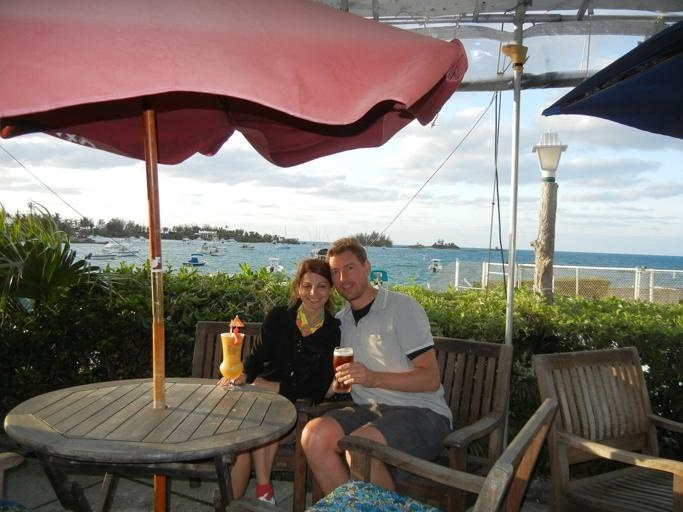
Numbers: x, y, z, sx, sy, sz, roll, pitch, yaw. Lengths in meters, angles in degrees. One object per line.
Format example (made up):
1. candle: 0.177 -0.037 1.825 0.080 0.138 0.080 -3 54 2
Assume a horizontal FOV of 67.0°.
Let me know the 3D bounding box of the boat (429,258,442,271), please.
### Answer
1. boat: 12.034 1.334 66.239 1.360 1.566 4.534 -1 -2 13

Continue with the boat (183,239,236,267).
1. boat: -16.596 -0.375 64.286 1.691 2.518 7.480 5 18 23
